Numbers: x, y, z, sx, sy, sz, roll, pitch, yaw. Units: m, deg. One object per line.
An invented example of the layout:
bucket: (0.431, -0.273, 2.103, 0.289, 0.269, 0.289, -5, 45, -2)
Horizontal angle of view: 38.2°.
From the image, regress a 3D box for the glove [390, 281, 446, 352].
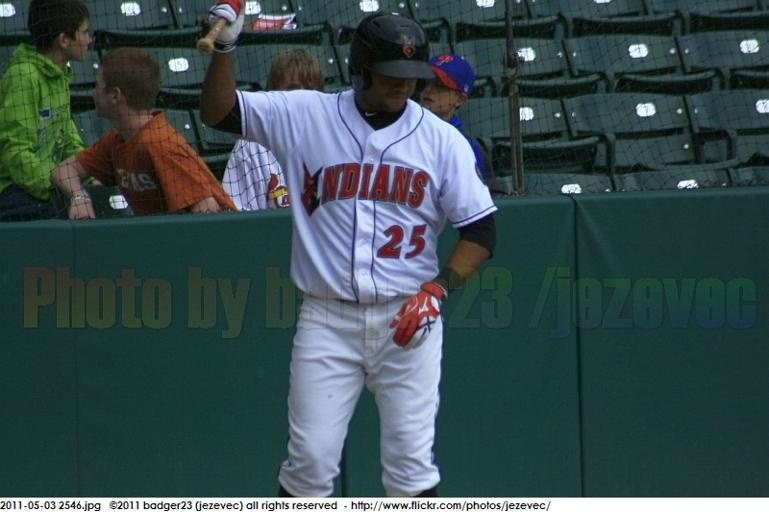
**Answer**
glove: (0.172, 0.299, 5.540, 0.349, 0.203, 0.125, -47, 10, -19)

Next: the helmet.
helmet: (0.016, -1.029, 5.629, 0.299, 0.320, 0.437, 4, 35, -20)

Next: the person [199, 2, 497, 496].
person: (-0.136, 0.003, 5.625, 1.364, 2.415, 0.426, 1, 7, 5)
